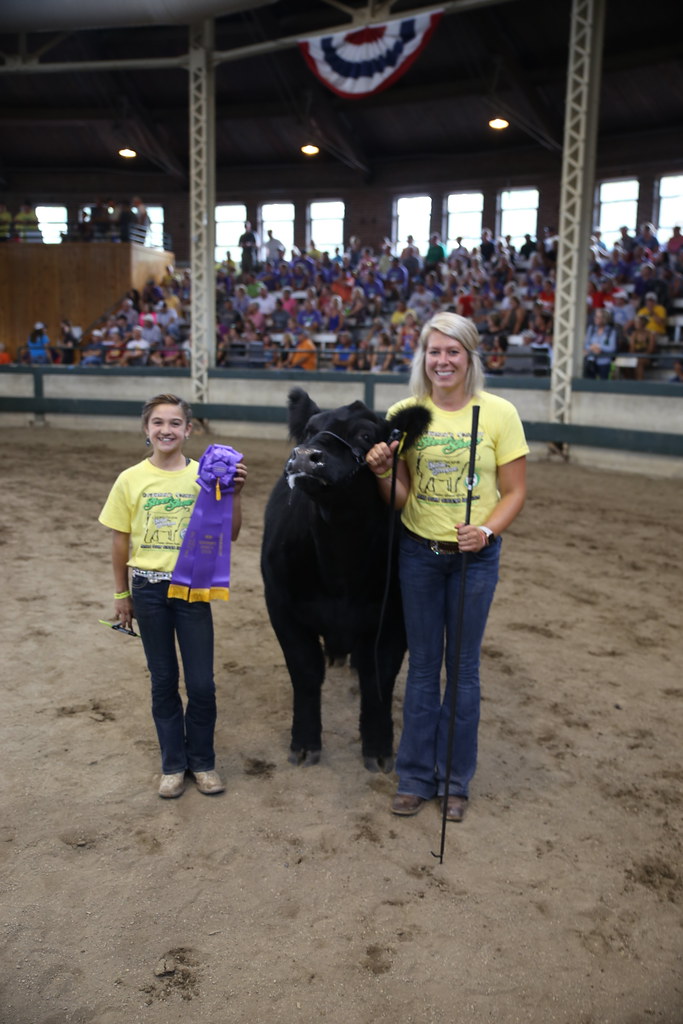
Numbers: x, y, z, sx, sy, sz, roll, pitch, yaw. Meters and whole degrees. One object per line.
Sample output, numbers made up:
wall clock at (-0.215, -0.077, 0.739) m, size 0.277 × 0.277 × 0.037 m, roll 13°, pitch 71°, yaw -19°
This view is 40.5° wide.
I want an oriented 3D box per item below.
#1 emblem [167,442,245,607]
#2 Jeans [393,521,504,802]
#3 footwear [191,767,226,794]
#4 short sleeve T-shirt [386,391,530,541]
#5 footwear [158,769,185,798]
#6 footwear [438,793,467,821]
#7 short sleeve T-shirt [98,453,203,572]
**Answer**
emblem at (-0.448, 0.040, 3.128) m, size 0.213 × 0.513 × 0.100 m, roll 6°, pitch -12°, yaw 4°
Jeans at (0.350, 0.529, 3.129) m, size 0.341 × 0.916 × 0.246 m, roll 0°, pitch -6°, yaw 19°
footwear at (-0.470, 0.968, 3.330) m, size 0.064 × 0.049 × 0.123 m, roll 0°, pitch -8°, yaw -32°
short sleeve T-shirt at (0.359, -0.144, 2.988) m, size 0.549 × 0.503 × 0.279 m, roll 2°, pitch 4°, yaw 22°
footwear at (-0.606, 0.972, 3.307) m, size 0.070 × 0.056 × 0.142 m, roll 0°, pitch -17°, yaw -1°
footwear at (0.395, 1.033, 3.218) m, size 0.077 × 0.047 × 0.124 m, roll 2°, pitch -15°, yaw -2°
short sleeve T-shirt at (-0.626, 0.021, 3.181) m, size 0.415 × 0.387 × 0.153 m, roll 7°, pitch 15°, yaw 20°
